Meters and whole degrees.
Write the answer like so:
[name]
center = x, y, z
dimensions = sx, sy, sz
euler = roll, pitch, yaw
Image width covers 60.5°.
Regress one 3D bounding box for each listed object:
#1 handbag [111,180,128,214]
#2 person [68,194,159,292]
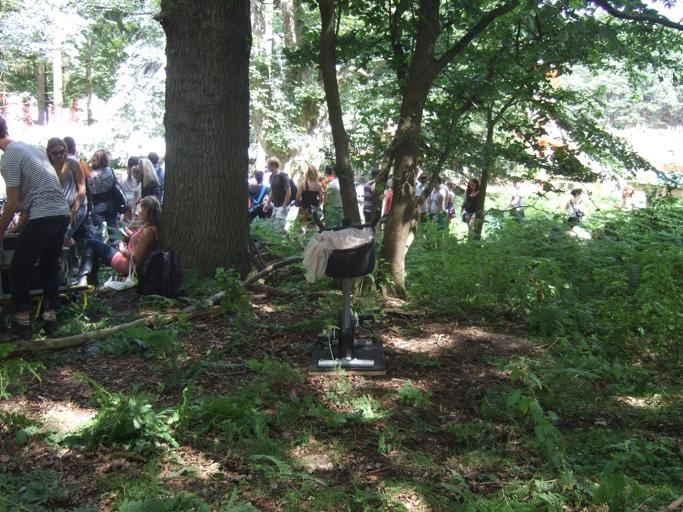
[handbag]
center = -3.951, -1.030, 10.486
dimensions = 0.129, 0.433, 0.325
euler = -4, 2, 11
[person]
center = -3.284, -0.187, 8.979
dimensions = 1.386, 1.488, 0.737
euler = 8, 5, 31
